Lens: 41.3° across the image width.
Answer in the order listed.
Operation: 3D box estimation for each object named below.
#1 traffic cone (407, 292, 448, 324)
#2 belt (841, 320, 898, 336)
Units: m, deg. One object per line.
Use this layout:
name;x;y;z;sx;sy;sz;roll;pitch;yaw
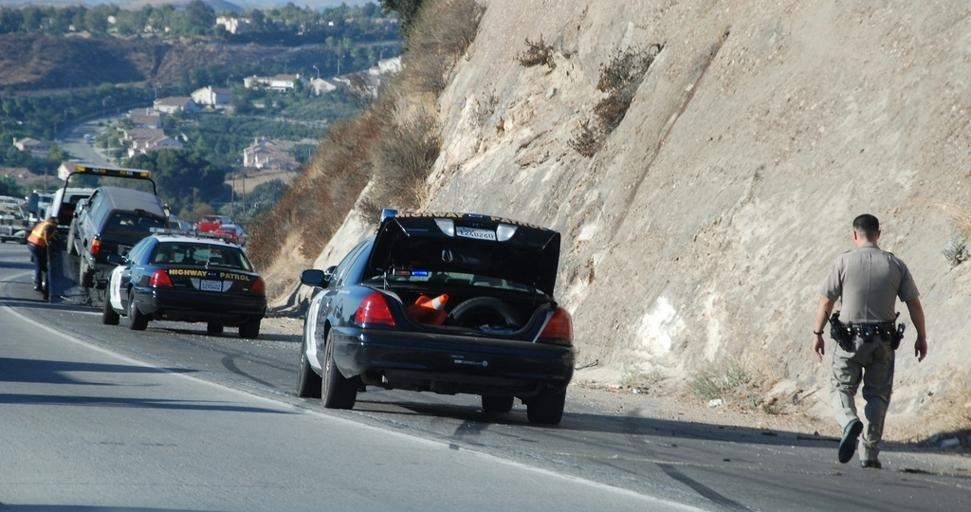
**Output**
traffic cone;-1.148;1.156;26.352;0.687;0.627;0.716;20;-23;-12
belt;7.489;1.397;25.012;1.011;0.229;0.226;6;-2;-11
